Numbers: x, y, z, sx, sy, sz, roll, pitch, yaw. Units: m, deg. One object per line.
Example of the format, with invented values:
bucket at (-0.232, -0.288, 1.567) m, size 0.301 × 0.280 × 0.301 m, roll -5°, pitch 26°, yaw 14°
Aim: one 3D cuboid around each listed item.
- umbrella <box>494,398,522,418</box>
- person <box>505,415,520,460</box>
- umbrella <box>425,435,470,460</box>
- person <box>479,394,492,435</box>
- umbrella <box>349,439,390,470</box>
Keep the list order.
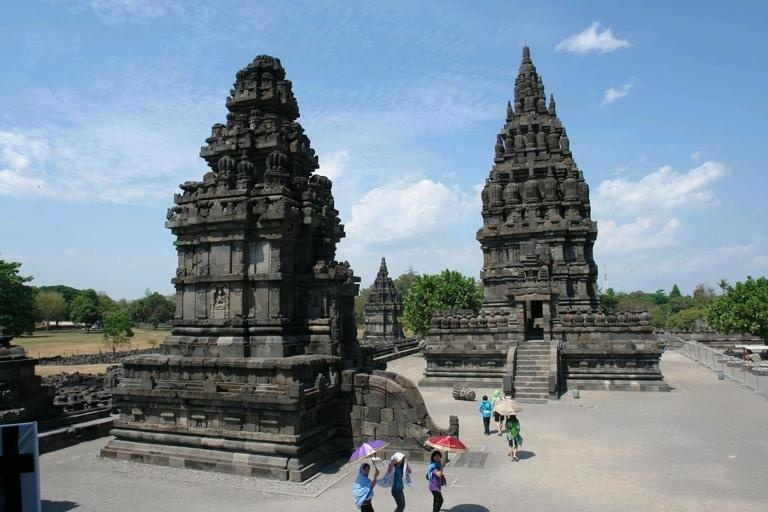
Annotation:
umbrella at (5.103, 6.387, 28.166) m, size 1.616 × 0.553 × 1.509 m, roll -2°, pitch -9°, yaw 7°
person at (5.144, 7.172, 26.845) m, size 0.536 × 1.796 × 1.029 m, roll -3°, pitch -7°, yaw 12°
umbrella at (2.113, 6.664, 23.970) m, size 1.200 × 0.390 × 1.214 m, roll -9°, pitch -15°, yaw 41°
person at (4.545, 7.009, 29.987) m, size 0.488 × 1.648 × 1.397 m, roll -3°, pitch -7°, yaw 8°
umbrella at (-0.511, 6.881, 23.495) m, size 1.269 × 0.437 × 1.200 m, roll -19°, pitch -21°, yaw 4°
